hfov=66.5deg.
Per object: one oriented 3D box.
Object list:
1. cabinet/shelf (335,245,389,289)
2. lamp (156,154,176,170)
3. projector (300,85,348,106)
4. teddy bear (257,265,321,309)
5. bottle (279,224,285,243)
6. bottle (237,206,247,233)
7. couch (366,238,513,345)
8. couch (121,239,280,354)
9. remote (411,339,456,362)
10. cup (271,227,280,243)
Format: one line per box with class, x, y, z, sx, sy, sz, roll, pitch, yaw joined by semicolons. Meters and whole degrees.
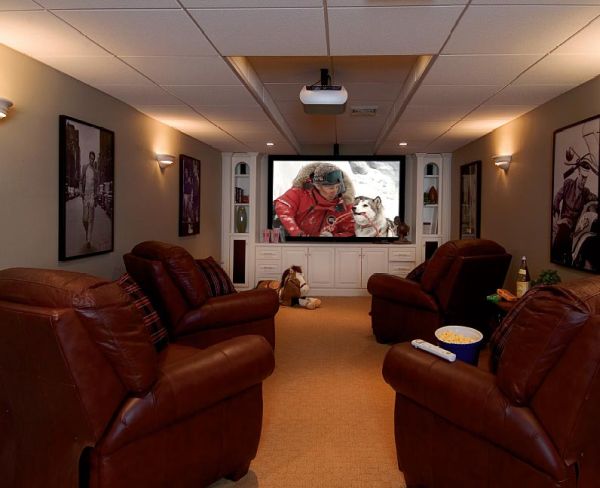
cabinet/shelf;0.949;0.332;7.171;0.951;0.936;0.530;0;-4;3
lamp;-1.404;-0.817;4.778;0.132;0.132;0.174;-15;-13;41
projector;0.199;-1.224;3.732;0.354;0.163;0.237;1;8;8
teddy bear;-0.245;0.604;6.404;0.964;0.617;0.358;0;-2;22
bottle;-0.276;-0.169;7.225;0.084;0.243;0.237;-1;8;-2
bottle;-0.886;-0.385;7.101;0.167;0.402;0.106;-1;8;-8
couch;1.385;0.418;4.452;0.946;1.234;1.090;0;-1;-30
couch;-0.825;0.269;3.787;0.971;0.918;0.874;3;2;-30
remote;0.683;0.538;2.369;0.087;0.060;0.282;-1;1;-27
cup;-0.376;-0.139;7.131;0.157;0.265;0.170;0;-6;0
